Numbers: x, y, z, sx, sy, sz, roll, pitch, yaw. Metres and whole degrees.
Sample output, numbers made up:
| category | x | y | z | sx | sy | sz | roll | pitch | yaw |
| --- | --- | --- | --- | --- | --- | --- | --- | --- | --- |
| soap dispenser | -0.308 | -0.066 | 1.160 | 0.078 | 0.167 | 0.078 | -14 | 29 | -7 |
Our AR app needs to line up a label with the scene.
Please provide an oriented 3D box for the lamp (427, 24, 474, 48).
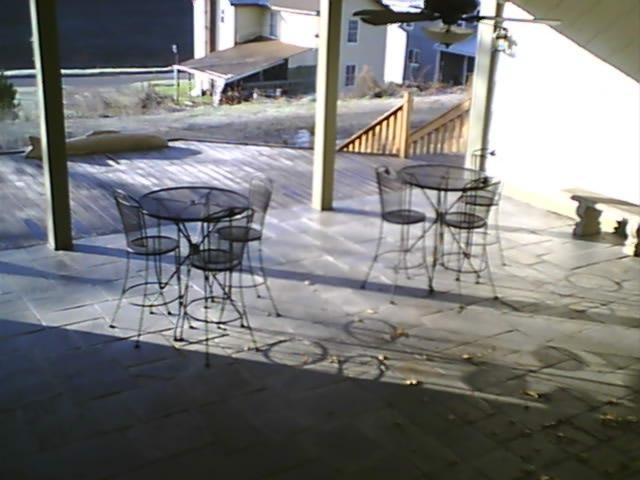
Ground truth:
| category | x | y | z | sx | sy | sz | roll | pitch | yaw |
| --- | --- | --- | --- | --- | --- | --- | --- | --- | --- |
| lamp | 0.942 | -1.524 | 3.922 | 0.258 | 0.100 | 0.211 | -3 | 29 | -8 |

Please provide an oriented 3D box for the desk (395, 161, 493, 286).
| category | x | y | z | sx | sy | sz | roll | pitch | yaw |
| --- | --- | --- | --- | --- | --- | --- | --- | --- | --- |
| desk | 1.322 | -0.152 | 5.825 | 1.057 | 0.921 | 0.934 | 14 | -3 | -29 |

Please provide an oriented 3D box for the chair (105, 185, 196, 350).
| category | x | y | z | sx | sy | sz | roll | pitch | yaw |
| --- | --- | --- | --- | --- | --- | --- | --- | --- | --- |
| chair | -1.580 | 0.305 | 4.934 | 0.795 | 1.641 | 0.693 | -18 | 59 | -37 |
